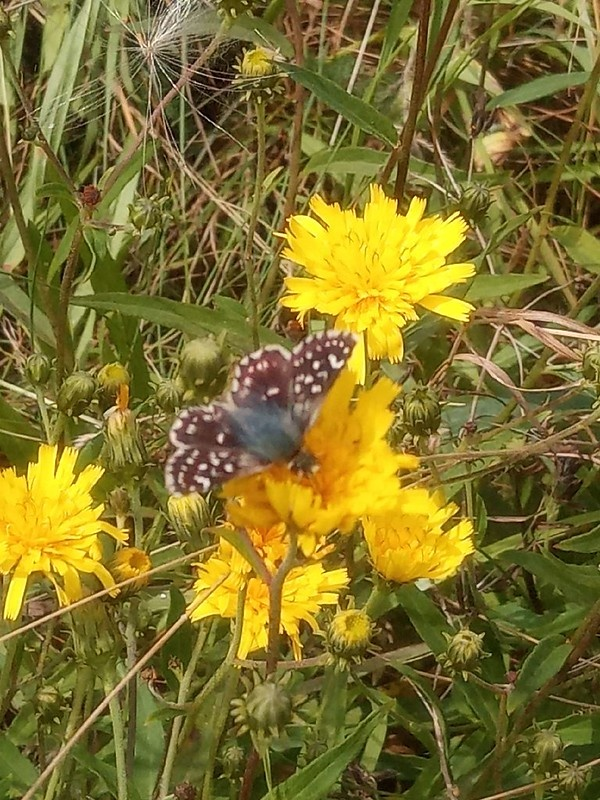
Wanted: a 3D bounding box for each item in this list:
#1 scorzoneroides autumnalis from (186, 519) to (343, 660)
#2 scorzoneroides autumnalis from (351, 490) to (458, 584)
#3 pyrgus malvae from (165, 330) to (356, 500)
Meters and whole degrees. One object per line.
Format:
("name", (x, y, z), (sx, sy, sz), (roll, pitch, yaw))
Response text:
("scorzoneroides autumnalis", (-0.067, 0.316, 1.458), (0.212, 0.311, 0.346), (-1, 7, -26))
("scorzoneroides autumnalis", (0.180, 0.187, 1.468), (0.199, 0.103, 0.183), (-12, 35, -14))
("pyrgus malvae", (-0.066, -0.004, 1.173), (0.278, 0.220, 0.261), (-4, 6, -17))
